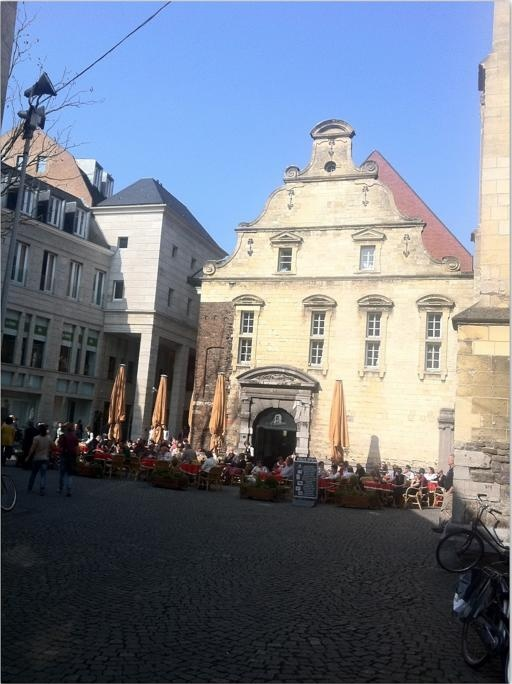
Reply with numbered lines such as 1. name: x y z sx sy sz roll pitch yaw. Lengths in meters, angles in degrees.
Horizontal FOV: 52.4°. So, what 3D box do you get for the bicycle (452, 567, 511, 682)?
1. bicycle: 1.730 2.096 3.915 0.335 0.667 0.819 4 -13 8
